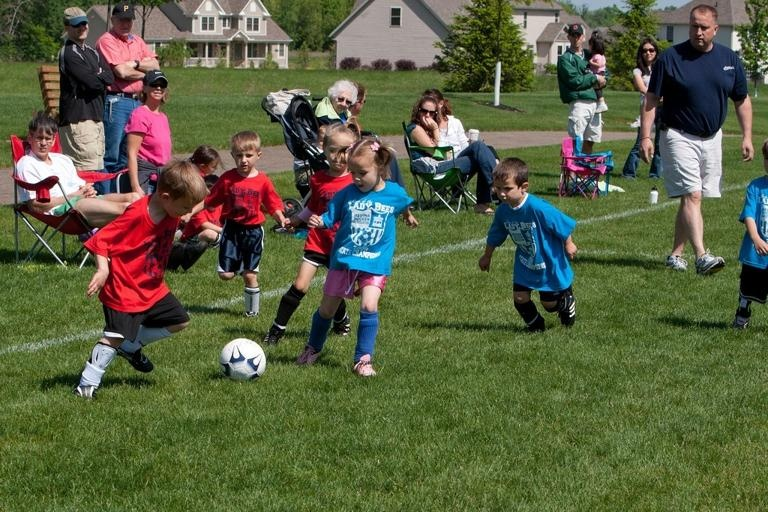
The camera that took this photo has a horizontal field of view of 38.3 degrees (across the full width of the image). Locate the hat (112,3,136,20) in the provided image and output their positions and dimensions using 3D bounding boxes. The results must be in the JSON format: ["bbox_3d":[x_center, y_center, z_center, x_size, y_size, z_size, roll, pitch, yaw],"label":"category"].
[{"bbox_3d":[-3.380,-3.140,14.414,0.243,0.178,0.333,-1,9,-25],"label":"hat"}]

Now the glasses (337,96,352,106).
[{"bbox_3d":[-0.490,-1.901,13.645,0.114,0.124,0.036,-1,-1,-10],"label":"glasses"}]

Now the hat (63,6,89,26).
[{"bbox_3d":[-3.947,-3.025,14.100,0.296,0.227,0.414,-8,3,-32],"label":"hat"}]

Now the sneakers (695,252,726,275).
[{"bbox_3d":[3.782,0.089,12.975,0.166,0.206,0.403,-22,0,-36],"label":"sneakers"}]

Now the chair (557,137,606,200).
[{"bbox_3d":[3.227,-1.396,18.110,0.839,0.914,0.901,3,-2,-9],"label":"chair"}]

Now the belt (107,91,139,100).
[{"bbox_3d":[-3.494,-2.141,14.870,0.435,0.135,0.218,-7,10,-27],"label":"belt"}]

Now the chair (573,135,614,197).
[{"bbox_3d":[3.346,-1.421,18.080,0.561,0.815,0.709,2,-7,18],"label":"chair"}]

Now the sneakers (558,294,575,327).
[{"bbox_3d":[1.917,0.581,11.560,0.131,0.377,0.180,8,25,29],"label":"sneakers"}]

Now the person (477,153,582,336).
[{"bbox_3d":[1.494,-0.114,11.412,0.920,1.803,0.498,-1,9,8],"label":"person"}]

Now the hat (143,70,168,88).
[{"bbox_3d":[-2.700,-2.079,13.063,0.256,0.207,0.475,-4,9,-12],"label":"hat"}]

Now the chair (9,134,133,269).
[{"bbox_3d":[-3.665,-0.744,13.136,1.413,1.813,1.457,4,10,22],"label":"chair"}]

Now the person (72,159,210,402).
[{"bbox_3d":[-2.211,0.208,10.052,1.212,2.109,0.490,-5,9,-18],"label":"person"}]

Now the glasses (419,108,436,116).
[{"bbox_3d":[0.688,-2.198,16.829,0.109,0.104,0.356,6,12,39],"label":"glasses"}]

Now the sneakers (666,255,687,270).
[{"bbox_3d":[3.537,0.081,13.439,0.139,0.104,0.235,-2,11,-26],"label":"sneakers"}]
